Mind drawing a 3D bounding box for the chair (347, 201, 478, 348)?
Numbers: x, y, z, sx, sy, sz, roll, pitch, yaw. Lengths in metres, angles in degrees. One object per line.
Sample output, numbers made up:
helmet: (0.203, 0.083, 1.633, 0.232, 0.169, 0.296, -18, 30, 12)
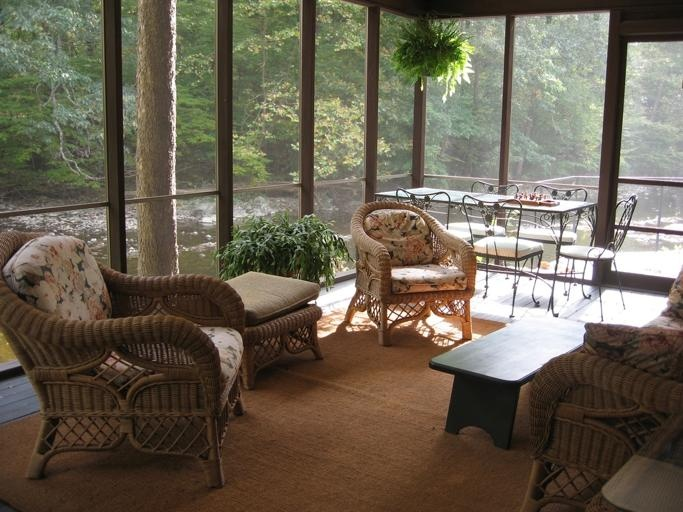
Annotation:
chair: (0.793, 0.002, 4.752, 1.183, 1.097, 1.258, -3, 6, -21)

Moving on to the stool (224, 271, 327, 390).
stool: (-0.434, 0.474, 3.600, 0.854, 0.440, 0.664, -4, 9, -39)
